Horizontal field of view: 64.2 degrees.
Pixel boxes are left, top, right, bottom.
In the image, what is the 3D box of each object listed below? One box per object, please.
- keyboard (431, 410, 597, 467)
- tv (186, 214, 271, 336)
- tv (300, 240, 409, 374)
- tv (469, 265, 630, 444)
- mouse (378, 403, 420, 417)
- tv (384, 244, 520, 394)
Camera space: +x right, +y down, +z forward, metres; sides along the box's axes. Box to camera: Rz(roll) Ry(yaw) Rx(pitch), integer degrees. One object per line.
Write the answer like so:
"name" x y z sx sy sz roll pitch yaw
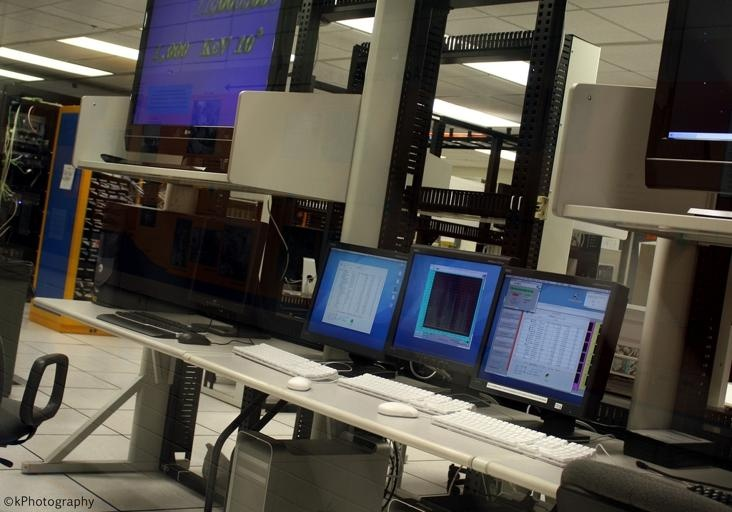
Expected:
"keyboard" 0.412 0.510 1.667 0.431 0.036 0.163 9 3 31
"tv" -0.615 0.103 2.666 0.527 0.530 0.189 2 -6 40
"tv" -0.040 0.218 2.314 0.438 0.490 0.190 12 -4 37
"tv" 0.584 0.329 1.857 0.504 0.403 0.258 3 -6 44
"mouse" 0.101 0.464 1.770 0.126 0.039 0.086 8 3 4
"tv" 0.307 0.231 2.070 0.392 0.487 0.261 12 -14 38
